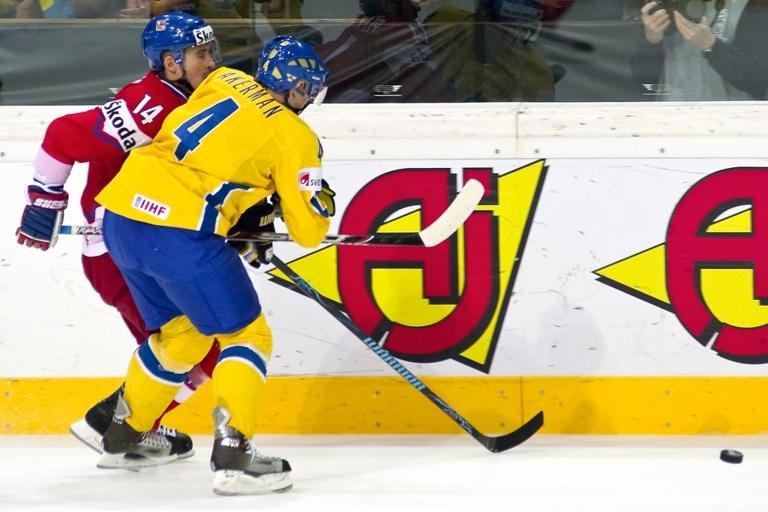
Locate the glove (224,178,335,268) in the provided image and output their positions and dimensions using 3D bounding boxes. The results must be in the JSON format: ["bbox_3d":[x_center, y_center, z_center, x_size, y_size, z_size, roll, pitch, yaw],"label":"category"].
[{"bbox_3d":[-0.501,-0.165,6.144,0.453,0.429,0.170,-38,20,-5],"label":"glove"}]

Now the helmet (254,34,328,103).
[{"bbox_3d":[-0.421,-0.858,6.072,0.347,0.265,0.258,-6,33,-36],"label":"helmet"}]

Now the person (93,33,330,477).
[{"bbox_3d":[-0.776,0.014,5.942,1.071,1.985,0.592,0,11,-2],"label":"person"}]

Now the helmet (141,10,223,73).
[{"bbox_3d":[-0.947,-1.003,6.191,0.407,0.249,0.285,2,22,14],"label":"helmet"}]

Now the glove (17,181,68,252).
[{"bbox_3d":[-1.588,-0.181,6.197,0.232,0.262,0.181,16,5,8],"label":"glove"}]
